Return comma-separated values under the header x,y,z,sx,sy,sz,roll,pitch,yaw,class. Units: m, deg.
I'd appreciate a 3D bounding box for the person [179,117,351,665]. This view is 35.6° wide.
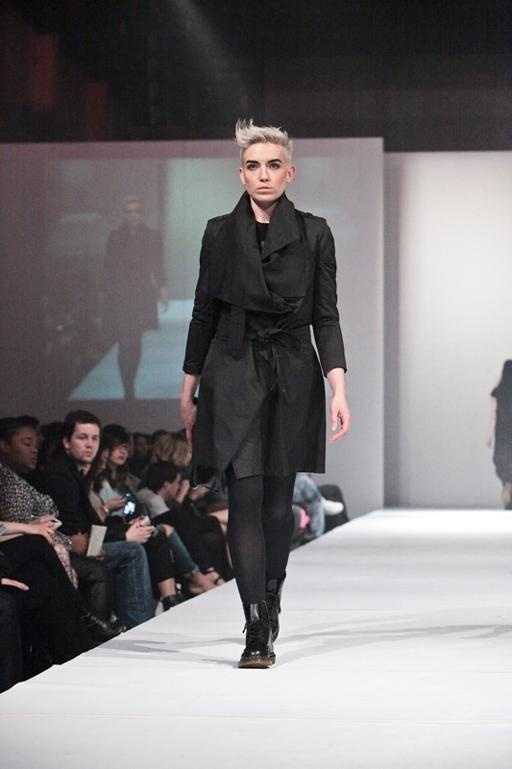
x,y,z,sx,sy,sz,roll,pitch,yaw,class
0.019,0.009,1.698,0.352,1.180,0.362,2,4,-5,person

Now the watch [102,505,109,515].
x,y,z,sx,sy,sz,roll,pitch,yaw,class
-0.504,0.421,2.671,0.026,0.027,0.011,7,-33,-46,watch

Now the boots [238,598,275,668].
x,y,z,sx,sy,sz,roll,pitch,yaw,class
0.004,0.505,1.637,0.070,0.126,0.178,2,3,2,boots
